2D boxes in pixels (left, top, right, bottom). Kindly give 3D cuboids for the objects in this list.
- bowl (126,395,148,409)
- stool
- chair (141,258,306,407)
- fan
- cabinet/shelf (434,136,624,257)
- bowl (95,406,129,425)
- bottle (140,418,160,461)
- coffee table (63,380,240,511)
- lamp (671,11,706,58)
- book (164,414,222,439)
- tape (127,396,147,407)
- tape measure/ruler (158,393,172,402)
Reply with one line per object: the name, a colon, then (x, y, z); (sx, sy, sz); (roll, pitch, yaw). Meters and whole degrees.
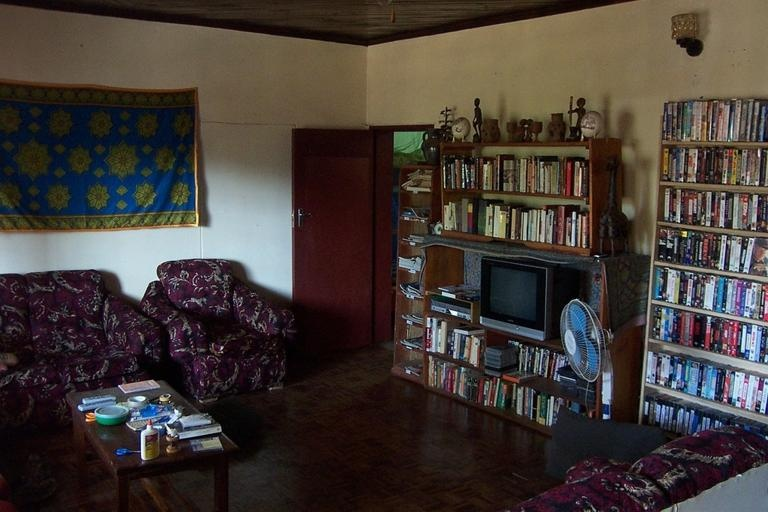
bowl: (-1.807, 1.066, 4.198); (0.088, 0.059, 0.099); (1, 0, 27)
stool: (1.599, 1.401, 4.094); (0.753, 0.458, 0.208); (-2, -1, 15)
chair: (-1.820, 0.755, 5.985); (1.402, 1.096, 1.416); (17, 16, 33)
fan: (1.668, 0.828, 4.686); (0.423, 0.987, 0.300); (9, 15, 34)
cabinet/shelf: (1.376, -0.600, 5.321); (1.726, 1.003, 0.456); (11, 16, 38)
bowl: (-1.910, 1.117, 3.997); (0.140, 0.045, 0.140); (6, 7, -1)
bottle: (-1.502, 1.181, 3.638); (0.118, 0.182, 0.180); (-5, 14, -24)
coffee table: (-1.504, 1.161, 3.850); (0.760, 0.700, 1.417); (1, 5, -35)
lamp: (2.440, -1.777, 4.606); (0.199, 0.324, 0.200); (-8, 13, -20)
book: (-1.294, 1.172, 3.885); (0.220, 0.065, 0.169); (-2, 5, -30)
tape: (-1.809, 1.063, 4.182); (0.076, 0.043, 0.096); (-1, -3, 25)
tape measure/ruler: (-1.633, 1.058, 4.255); (0.058, 0.024, 0.079); (1, 7, 0)
